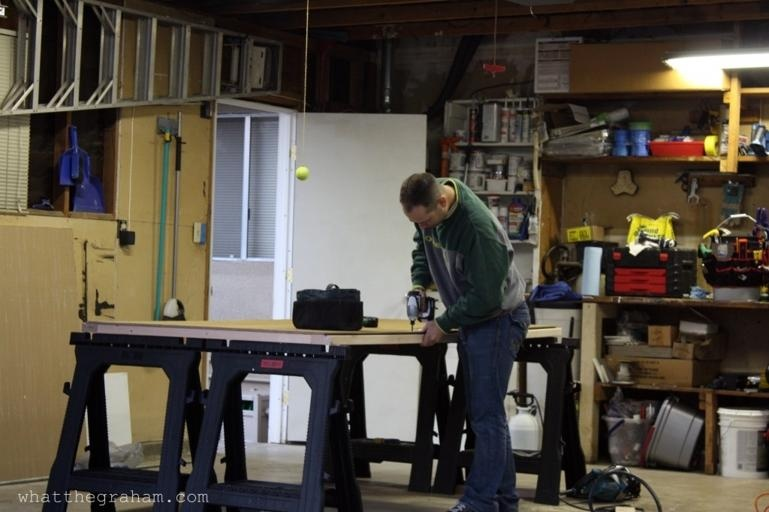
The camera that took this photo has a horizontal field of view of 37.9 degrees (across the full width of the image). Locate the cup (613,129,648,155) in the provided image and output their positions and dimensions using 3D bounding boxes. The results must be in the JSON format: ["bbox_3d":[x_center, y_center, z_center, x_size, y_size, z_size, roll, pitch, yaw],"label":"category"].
[{"bbox_3d":[2.311,-1.042,10.545,0.254,0.195,0.261,0,-1,0],"label":"cup"}]

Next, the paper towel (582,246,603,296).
[{"bbox_3d":[1.917,0.142,10.407,0.172,0.429,0.162,1,2,7],"label":"paper towel"}]

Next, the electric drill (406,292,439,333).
[{"bbox_3d":[0.267,0.406,8.235,0.095,0.278,0.377,3,5,28],"label":"electric drill"}]
